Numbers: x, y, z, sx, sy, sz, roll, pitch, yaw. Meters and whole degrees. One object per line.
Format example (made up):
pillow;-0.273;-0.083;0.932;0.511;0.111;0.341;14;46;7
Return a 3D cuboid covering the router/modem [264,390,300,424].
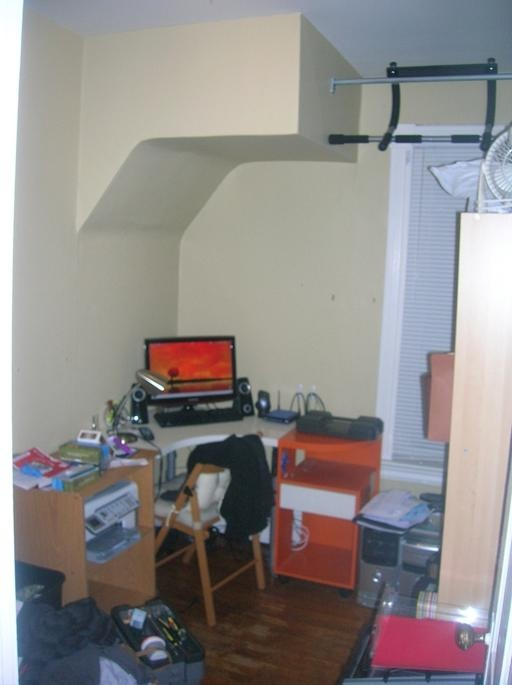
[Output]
router/modem;0.162;0.363;3.371;0.112;0.111;0.209;2;10;17

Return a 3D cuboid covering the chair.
chair;-0.228;0.838;2.882;0.509;0.762;0.503;7;10;15

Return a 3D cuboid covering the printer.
printer;-0.552;0.703;2.263;0.151;0.222;0.305;-2;6;22

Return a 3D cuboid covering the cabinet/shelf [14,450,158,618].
cabinet/shelf;-0.602;0.783;2.305;0.308;0.610;0.617;6;7;28

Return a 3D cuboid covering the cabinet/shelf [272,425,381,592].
cabinet/shelf;0.362;0.857;3.127;0.468;0.757;0.512;5;6;25

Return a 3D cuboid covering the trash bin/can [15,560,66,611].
trash bin/can;-0.713;0.825;1.970;0.152;0.128;0.308;0;7;-22

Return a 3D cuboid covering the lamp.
lamp;-0.625;0.322;3.041;0.301;0.407;0.271;2;24;-11

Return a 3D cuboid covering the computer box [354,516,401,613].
computer box;0.610;1.061;2.950;0.201;0.437;0.277;6;12;24
